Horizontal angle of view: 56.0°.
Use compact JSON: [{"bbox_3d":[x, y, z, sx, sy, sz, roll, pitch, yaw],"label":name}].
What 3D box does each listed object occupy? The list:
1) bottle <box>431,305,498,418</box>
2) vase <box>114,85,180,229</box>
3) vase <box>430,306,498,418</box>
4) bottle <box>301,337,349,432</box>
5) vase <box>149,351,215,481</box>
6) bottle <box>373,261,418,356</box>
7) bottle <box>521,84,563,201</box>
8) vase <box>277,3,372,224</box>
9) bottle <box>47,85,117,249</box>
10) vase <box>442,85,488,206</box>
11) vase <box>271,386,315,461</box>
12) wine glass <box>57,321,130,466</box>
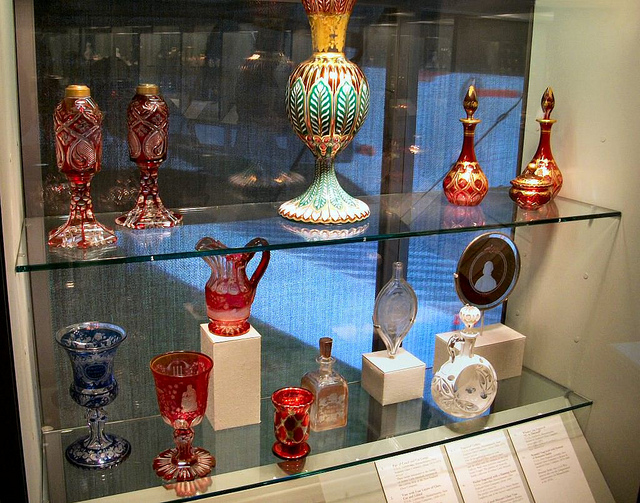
[{"bbox_3d":[0.339,0.254,1.384,0.163,0.249,0.114,-10,11,-19],"label":"bottle"},{"bbox_3d":[-0.319,-0.162,1.067,0.114,0.253,0.049,-9,21,-18],"label":"vase"},{"bbox_3d":[0.327,0.256,1.367,0.134,0.249,0.075,-13,23,-28],"label":"vase"},{"bbox_3d":[0.010,0.279,1.317,0.104,0.217,0.077,-7,20,-12],"label":"bottle"},{"bbox_3d":[-0.270,0.319,1.179,0.137,0.242,0.131,-14,23,-29],"label":"vase"},{"bbox_3d":[0.181,0.128,1.405,0.086,0.222,0.108,6,21,21],"label":"bottle"},{"bbox_3d":[0.526,-0.250,1.398,0.088,0.253,0.204,6,21,22],"label":"bottle"},{"bbox_3d":[0.001,-0.260,1.152,0.158,0.403,0.148,-15,23,-30],"label":"vase"},{"bbox_3d":[-0.423,-0.147,1.023,0.118,0.258,0.137,-9,21,-19],"label":"bottle"},{"bbox_3d":[0.327,-0.229,1.316,0.092,0.247,0.106,8,22,27],"label":"vase"},{"bbox_3d":[-0.058,0.358,1.255,0.097,0.120,0.096,3,7,7],"label":"vase"},{"bbox_3d":[-0.452,0.267,1.217,0.151,0.277,0.184,-8,21,-16],"label":"wine glass"}]
